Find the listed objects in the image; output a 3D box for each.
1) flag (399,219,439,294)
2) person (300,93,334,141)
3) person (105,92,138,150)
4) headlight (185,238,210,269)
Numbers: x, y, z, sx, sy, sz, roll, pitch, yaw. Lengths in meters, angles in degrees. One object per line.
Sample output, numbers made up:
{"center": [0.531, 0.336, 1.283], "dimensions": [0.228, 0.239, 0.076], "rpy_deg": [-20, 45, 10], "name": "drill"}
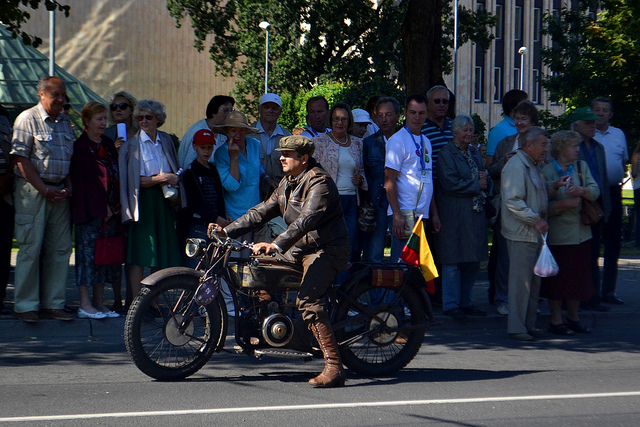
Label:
{"center": [1.610, 0.588, 19.663], "dimensions": [0.374, 1.101, 0.493], "rpy_deg": [-1, 21, -32], "name": "flag"}
{"center": [0.058, -1.735, 22.226], "dimensions": [0.498, 0.973, 0.556], "rpy_deg": [-15, -20, 31], "name": "person"}
{"center": [-3.619, -1.738, 20.956], "dimensions": [0.518, 1.121, 0.257], "rpy_deg": [3, 9, 6], "name": "person"}
{"center": [-2.034, 0.525, 18.730], "dimensions": [0.262, 0.361, 0.327], "rpy_deg": [17, 11, 17], "name": "headlight"}
